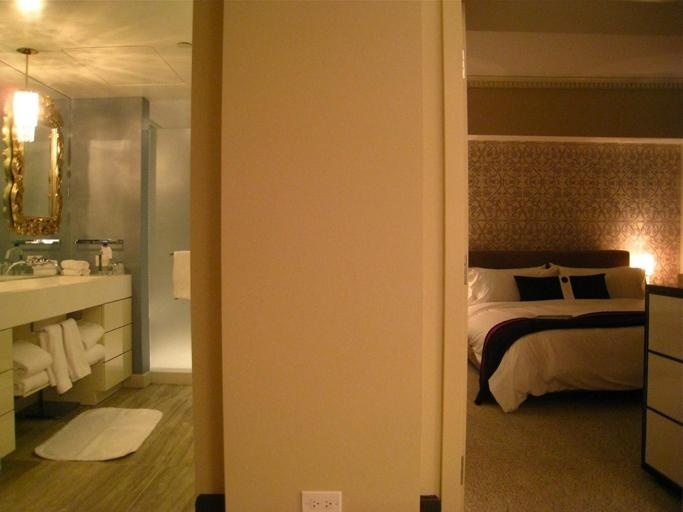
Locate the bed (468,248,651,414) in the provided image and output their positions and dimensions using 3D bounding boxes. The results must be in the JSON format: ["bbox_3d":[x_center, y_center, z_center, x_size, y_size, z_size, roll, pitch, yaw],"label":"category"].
[{"bbox_3d":[1.758,0.547,5.230,1.424,0.654,1.395,-3,11,-2],"label":"bed"}]

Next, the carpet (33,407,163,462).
[{"bbox_3d":[-1.733,1.297,4.380,0.714,0.132,0.699,-2,6,5],"label":"carpet"}]

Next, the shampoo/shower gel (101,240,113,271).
[{"bbox_3d":[-1.981,0.005,5.069,0.101,0.227,0.128,-4,7,-18],"label":"shampoo/shower gel"}]

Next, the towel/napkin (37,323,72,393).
[{"bbox_3d":[-1.998,0.739,4.370,0.111,0.435,0.325,-5,4,0],"label":"towel/napkin"}]

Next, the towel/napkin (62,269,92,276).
[{"bbox_3d":[-2.188,0.139,4.929,0.204,0.062,0.094,-3,6,-8],"label":"towel/napkin"}]

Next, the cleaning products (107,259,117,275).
[{"bbox_3d":[-1.941,0.105,5.079,0.107,0.156,0.087,2,3,-3],"label":"cleaning products"}]

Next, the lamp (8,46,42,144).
[{"bbox_3d":[-2.370,-1.176,4.517,0.201,0.626,0.588,-6,7,-27],"label":"lamp"}]

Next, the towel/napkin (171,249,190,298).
[{"bbox_3d":[-1.020,0.124,4.015,0.078,0.323,0.307,7,-5,-45],"label":"towel/napkin"}]

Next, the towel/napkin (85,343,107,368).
[{"bbox_3d":[-1.911,0.773,4.689,0.050,0.153,0.149,-6,1,14],"label":"towel/napkin"}]
